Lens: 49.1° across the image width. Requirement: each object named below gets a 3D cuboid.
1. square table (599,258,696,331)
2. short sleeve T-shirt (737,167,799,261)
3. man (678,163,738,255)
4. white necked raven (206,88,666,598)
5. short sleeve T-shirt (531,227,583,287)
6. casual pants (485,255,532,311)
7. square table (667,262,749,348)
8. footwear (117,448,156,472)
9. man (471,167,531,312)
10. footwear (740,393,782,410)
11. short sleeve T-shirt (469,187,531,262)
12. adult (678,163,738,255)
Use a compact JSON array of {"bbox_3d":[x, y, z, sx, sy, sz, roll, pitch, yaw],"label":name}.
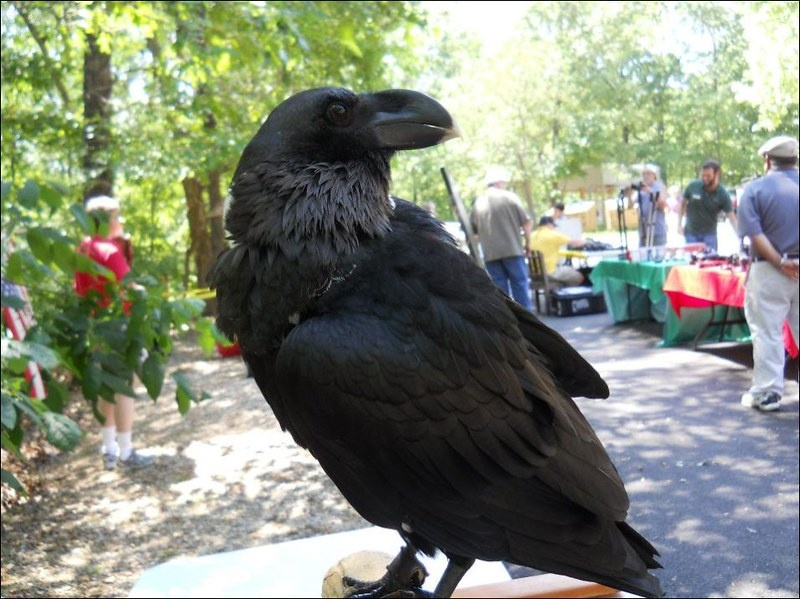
[{"bbox_3d":[1.709,-0.043,6.422,0.546,0.396,0.569,11,0,27],"label":"square table"},{"bbox_3d":[2.421,-0.547,5.722,0.399,0.584,0.166,-7,5,15],"label":"short sleeve T-shirt"},{"bbox_3d":[1.956,-0.617,5.647,0.318,0.525,0.642,-6,5,22],"label":"man"},{"bbox_3d":[0.061,0.214,3.597,1.529,2.232,0.576,-9,5,-13],"label":"white necked raven"},{"bbox_3d":[1.209,-0.266,6.485,0.296,0.529,0.450,2,-19,4],"label":"short sleeve T-shirt"},{"bbox_3d":[0.911,-0.193,7.371,0.320,0.740,0.218,-7,40,12],"label":"casual pants"},{"bbox_3d":[2.448,-0.057,6.652,0.747,0.569,0.580,5,22,32],"label":"square table"},{"bbox_3d":[-1.494,0.913,4.967,0.189,0.141,0.097,-6,7,-11],"label":"footwear"},{"bbox_3d":[0.930,-0.398,7.628,0.424,1.386,0.457,-10,-3,37],"label":"man"},{"bbox_3d":[2.355,0.659,5.695,0.210,0.095,0.121,1,-1,4],"label":"footwear"},{"bbox_3d":[0.871,-0.627,7.630,0.543,0.679,0.285,-7,-20,9],"label":"short sleeve T-shirt"},{"bbox_3d":[1.956,-0.617,5.647,0.318,0.525,0.642,-6,5,22],"label":"adult"}]
